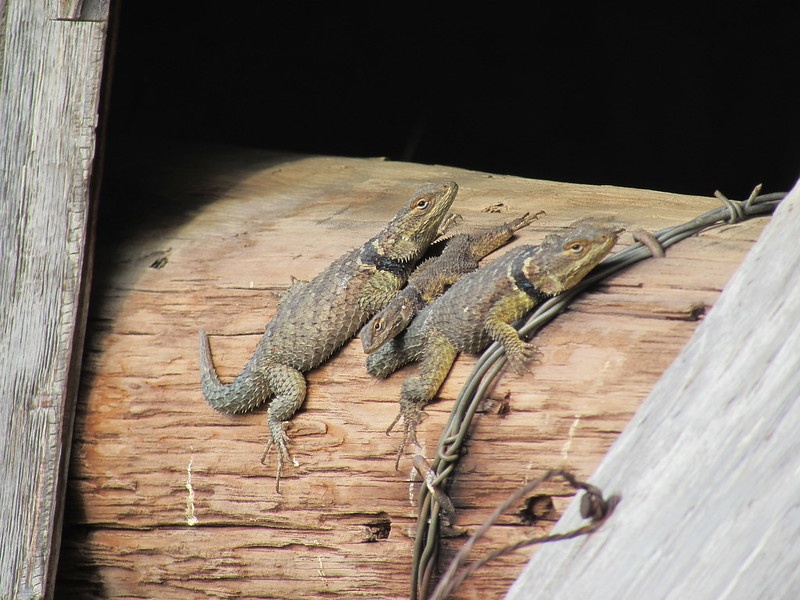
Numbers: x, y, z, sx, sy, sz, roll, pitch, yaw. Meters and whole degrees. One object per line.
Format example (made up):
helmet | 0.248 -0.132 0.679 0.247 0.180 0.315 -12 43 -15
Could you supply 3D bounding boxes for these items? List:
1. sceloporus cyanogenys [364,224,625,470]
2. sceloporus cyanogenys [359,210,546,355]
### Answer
sceloporus cyanogenys | 0.351 0.011 5.234 0.306 1.167 0.682 50 34 -21
sceloporus cyanogenys | 0.192 -0.029 5.395 0.151 0.616 0.360 52 -18 -28
